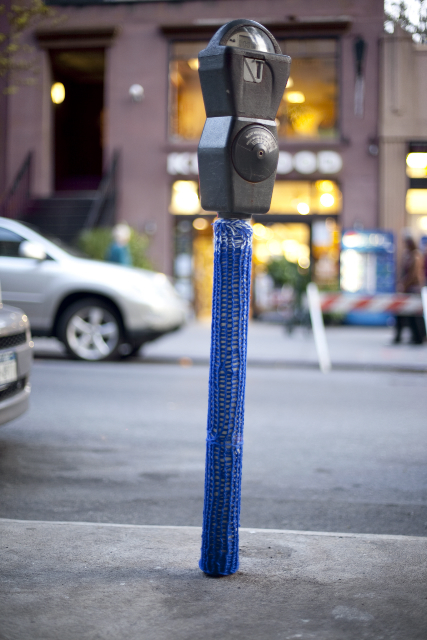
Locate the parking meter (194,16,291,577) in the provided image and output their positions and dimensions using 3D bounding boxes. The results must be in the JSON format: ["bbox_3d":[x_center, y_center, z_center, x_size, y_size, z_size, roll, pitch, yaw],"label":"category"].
[{"bbox_3d":[0.081,-0.058,3.959,0.300,1.863,0.371,2,2,3],"label":"parking meter"}]
